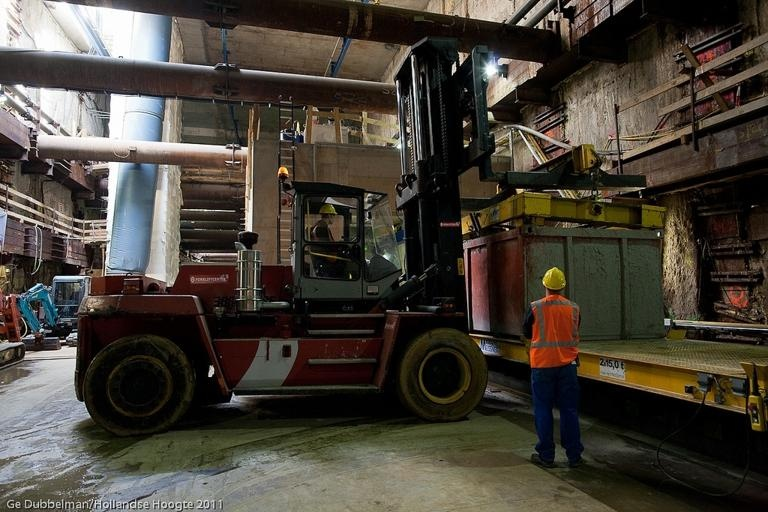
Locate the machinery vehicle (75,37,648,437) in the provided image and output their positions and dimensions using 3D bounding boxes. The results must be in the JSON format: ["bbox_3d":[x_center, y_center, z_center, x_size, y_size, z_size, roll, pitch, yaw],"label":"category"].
[{"bbox_3d":[-0.380,-0.293,12.608,9.853,6.994,3.867,-1,-7,-6],"label":"machinery vehicle"}]

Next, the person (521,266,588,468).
[{"bbox_3d":[2.733,1.998,9.591,0.883,2.641,0.710,0,9,9],"label":"person"}]

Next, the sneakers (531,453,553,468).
[{"bbox_3d":[2.554,3.303,9.588,0.377,0.173,0.139,-7,-9,34],"label":"sneakers"}]

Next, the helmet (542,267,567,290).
[{"bbox_3d":[2.851,0.383,9.970,0.341,0.251,0.451,-7,1,17],"label":"helmet"}]

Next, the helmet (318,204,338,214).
[{"bbox_3d":[-1.090,-0.896,11.363,0.241,0.161,0.186,-2,4,7],"label":"helmet"}]

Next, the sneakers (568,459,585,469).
[{"bbox_3d":[3.071,3.285,9.497,0.291,0.162,0.110,-1,9,-1],"label":"sneakers"}]
